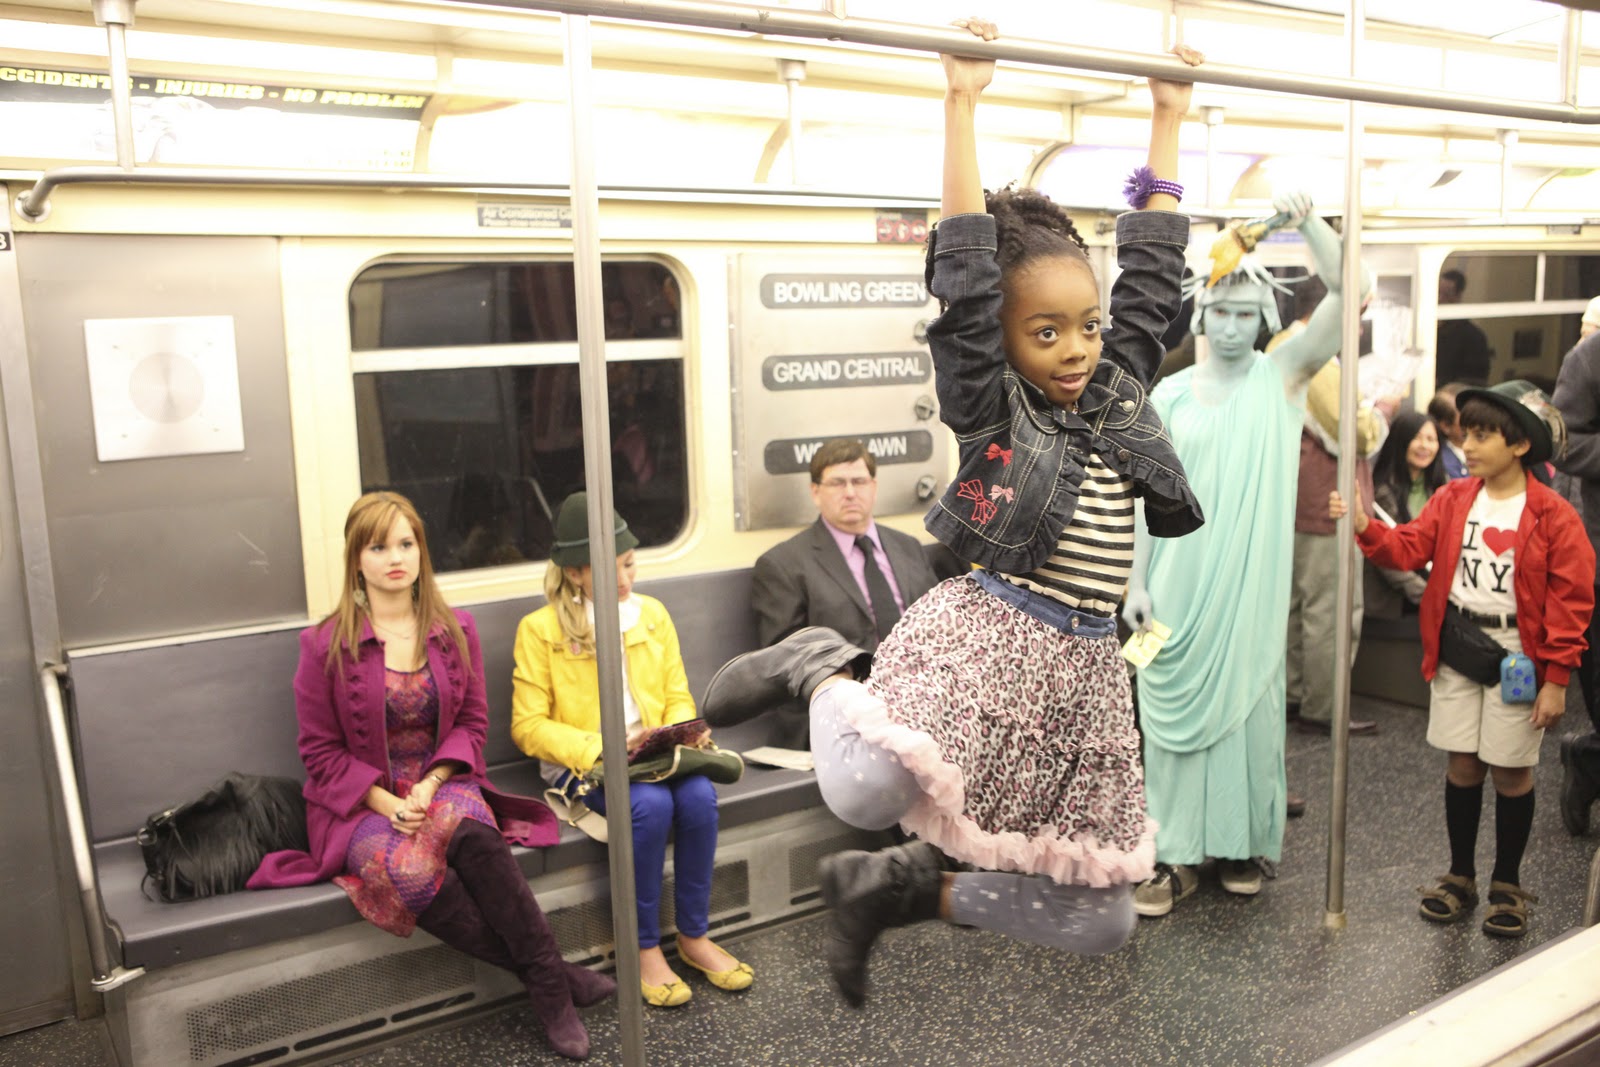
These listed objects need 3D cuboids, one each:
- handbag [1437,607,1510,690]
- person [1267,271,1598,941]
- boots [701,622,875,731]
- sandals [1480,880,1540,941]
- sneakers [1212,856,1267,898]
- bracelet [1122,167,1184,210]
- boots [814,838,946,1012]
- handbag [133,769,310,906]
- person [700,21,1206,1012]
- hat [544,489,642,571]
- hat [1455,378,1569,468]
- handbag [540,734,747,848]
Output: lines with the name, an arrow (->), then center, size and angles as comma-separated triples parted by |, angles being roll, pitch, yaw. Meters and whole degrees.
handbag -> 2.738, 0.459, 4.711 | 0.117, 0.122, 0.323 | -13, 1, 10
person -> 2.781, 0.500, 4.804 | 0.746, 2.172, 0.615 | 9, 16, 38
boots -> -0.041, 0.366, 3.088 | 0.317, 0.149, 0.314 | -17, 2, 12
sandals -> 2.880, 1.531, 4.741 | 0.127, 0.103, 0.349 | -2, -1, 21
sneakers -> 1.917, 1.480, 5.024 | 0.110, 0.106, 0.274 | 0, 1, 6
bracelet -> 0.958, -0.938, 3.170 | 0.130, 0.094, 0.104 | 7, 0, -15
boots -> 0.206, 0.956, 3.020 | 0.393, 0.548, 0.211 | -4, 3, 8
handbag -> -2.133, 1.099, 4.390 | 0.633, 0.418, 0.403 | -8, -4, -37
person -> 0.532, 0.026, 3.044 | 1.313, 2.450, 0.638 | -9, 15, -29
hat -> -0.860, -0.058, 4.769 | 0.369, 0.234, 0.421 | 0, 29, 37
hat -> 2.945, -0.440, 4.791 | 0.488, 0.348, 0.314 | -13, 17, -41
handbag -> -0.540, 0.950, 4.651 | 0.435, 0.204, 0.574 | 0, 4, 40
